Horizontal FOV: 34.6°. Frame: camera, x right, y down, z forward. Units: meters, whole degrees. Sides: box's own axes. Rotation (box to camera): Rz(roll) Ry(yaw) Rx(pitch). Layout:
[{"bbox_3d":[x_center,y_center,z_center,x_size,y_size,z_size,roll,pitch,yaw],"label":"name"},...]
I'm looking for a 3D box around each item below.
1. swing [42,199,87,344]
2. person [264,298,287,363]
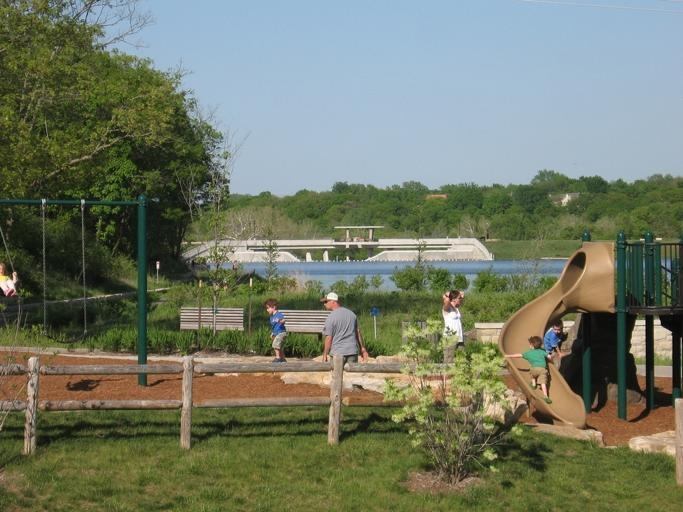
[{"bbox_3d":[-11.074,0.764,43.387,0.880,5.776,0.998,-3,4,-42],"label":"swing"},{"bbox_3d":[-1.882,2.162,30.664,0.522,1.736,1.376,2,-8,-5],"label":"person"}]
